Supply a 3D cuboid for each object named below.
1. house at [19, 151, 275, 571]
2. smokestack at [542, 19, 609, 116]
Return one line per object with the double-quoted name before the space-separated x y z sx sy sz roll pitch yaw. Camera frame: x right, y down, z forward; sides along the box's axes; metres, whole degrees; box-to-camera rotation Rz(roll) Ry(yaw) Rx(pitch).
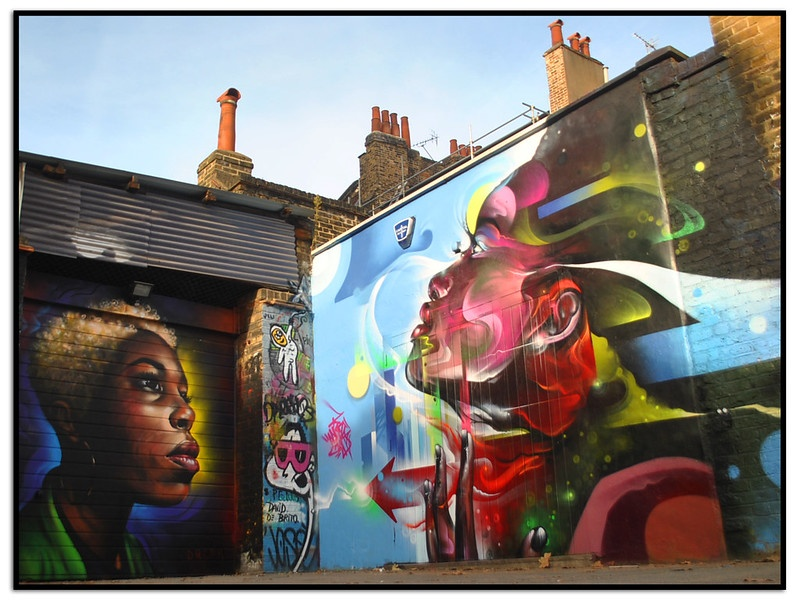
"house" -5.470 1.658 15.131 6.756 7.122 4.434 14 -24 -40
"smokestack" 4.822 -6.413 20.043 1.800 2.668 0.874 8 -16 -35
